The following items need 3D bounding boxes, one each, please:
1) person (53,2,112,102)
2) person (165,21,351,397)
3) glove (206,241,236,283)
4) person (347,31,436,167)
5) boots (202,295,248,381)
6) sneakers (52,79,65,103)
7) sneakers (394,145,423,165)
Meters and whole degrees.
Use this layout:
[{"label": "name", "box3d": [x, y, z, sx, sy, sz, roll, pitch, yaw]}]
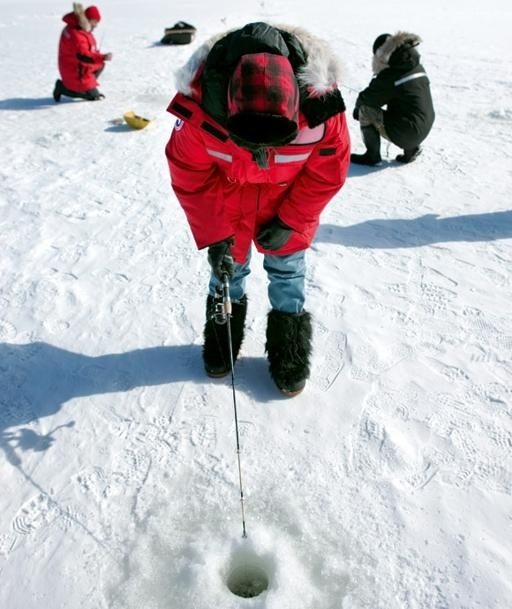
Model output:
[{"label": "person", "box3d": [-2.011, -2.806, 6.206, 0.697, 1.015, 0.740, -10, 41, -15]}, {"label": "person", "box3d": [0.024, -0.315, 2.421, 0.652, 1.651, 0.621, -16, 43, -20]}, {"label": "glove", "box3d": [-0.151, -0.182, 2.397, 0.114, 0.171, 0.055, -8, 7, -35]}, {"label": "person", "box3d": [1.234, -1.799, 4.915, 0.787, 1.135, 0.681, 7, 35, 16]}, {"label": "boots", "box3d": [-0.143, 0.175, 2.813, 0.183, 0.461, 0.199, 2, -7, 3]}, {"label": "sneakers", "box3d": [-2.236, -2.414, 6.278, 0.207, 0.240, 0.070, 3, 27, 1]}, {"label": "sneakers", "box3d": [1.392, -1.337, 4.977, 0.212, 0.202, 0.100, -1, 47, -46]}]
